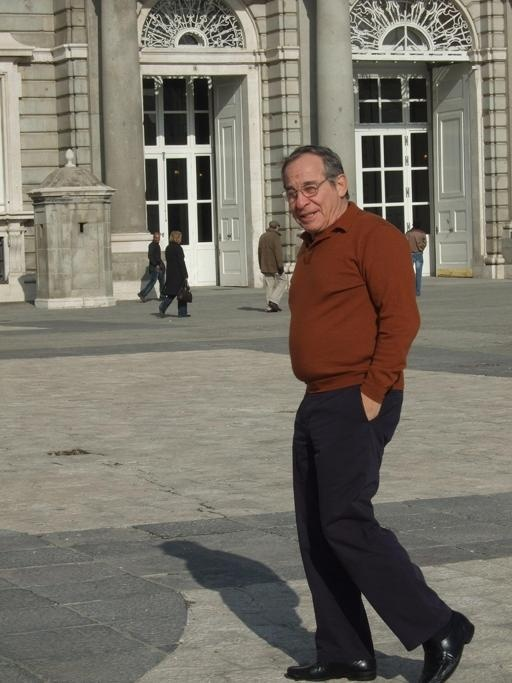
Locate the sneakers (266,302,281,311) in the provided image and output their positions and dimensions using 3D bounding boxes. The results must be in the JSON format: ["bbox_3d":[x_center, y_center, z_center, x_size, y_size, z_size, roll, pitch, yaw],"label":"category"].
[{"bbox_3d":[0.282,-0.541,21.701,0.256,0.171,0.082,1,40,-25],"label":"sneakers"}]

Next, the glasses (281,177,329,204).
[{"bbox_3d":[0.160,-0.469,4.279,0.083,0.025,0.087,-13,5,38],"label":"glasses"}]

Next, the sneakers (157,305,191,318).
[{"bbox_3d":[-1.266,-0.432,21.260,0.594,0.238,0.194,1,10,-8],"label":"sneakers"}]

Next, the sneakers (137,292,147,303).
[{"bbox_3d":[-2.147,-0.774,26.385,0.118,0.263,0.091,-14,26,5],"label":"sneakers"}]

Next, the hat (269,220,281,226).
[{"bbox_3d":[0.286,-1.852,22.077,0.195,0.062,0.185,-1,3,2],"label":"hat"}]

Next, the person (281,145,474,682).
[{"bbox_3d":[0.351,0.217,4.270,0.574,1.655,0.294,-1,2,17],"label":"person"}]

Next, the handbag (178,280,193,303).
[{"bbox_3d":[-1.067,-0.735,20.821,0.199,0.353,0.520,-1,2,-3],"label":"handbag"}]
